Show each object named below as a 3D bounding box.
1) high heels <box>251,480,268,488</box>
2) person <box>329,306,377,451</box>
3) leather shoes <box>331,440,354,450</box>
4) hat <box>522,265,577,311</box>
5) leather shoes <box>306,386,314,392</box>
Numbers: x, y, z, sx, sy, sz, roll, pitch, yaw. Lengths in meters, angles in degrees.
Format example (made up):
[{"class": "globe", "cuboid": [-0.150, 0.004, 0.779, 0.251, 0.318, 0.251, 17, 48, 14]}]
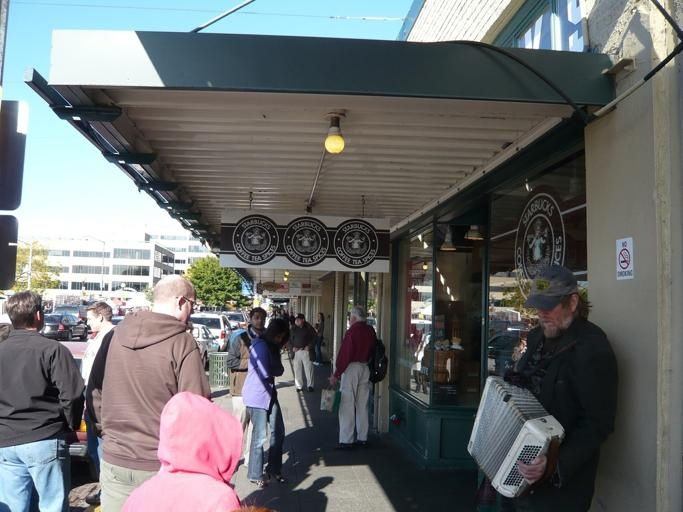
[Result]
[{"class": "high heels", "cuboid": [-0.938, 2.575, 7.121, 0.145, 0.074, 0.054, 27, 3, -5]}, {"class": "person", "cuboid": [0.152, 1.675, 8.894, 0.740, 1.939, 0.327, 1, -1, -40]}, {"class": "leather shoes", "cuboid": [0.035, 2.589, 8.662, 0.255, 0.130, 0.096, 8, -4, 0]}, {"class": "hat", "cuboid": [1.484, 0.204, 4.421, 0.381, 0.240, 0.260, -18, 9, -30]}, {"class": "leather shoes", "cuboid": [-0.684, 2.946, 13.975, 0.086, 0.108, 0.118, 2, 0, -6]}]
